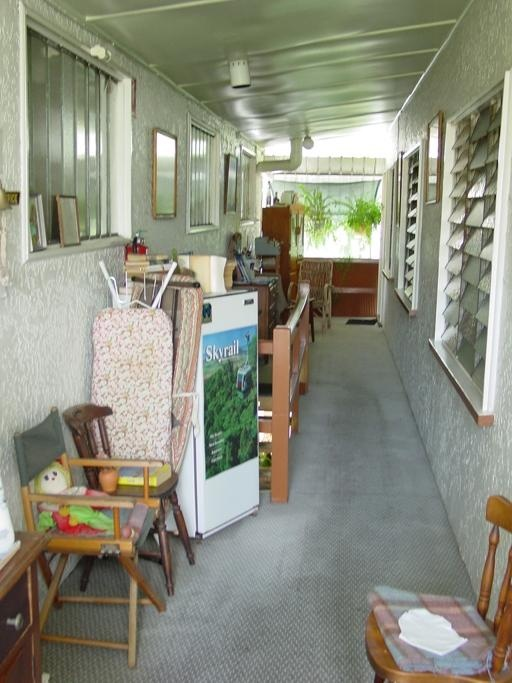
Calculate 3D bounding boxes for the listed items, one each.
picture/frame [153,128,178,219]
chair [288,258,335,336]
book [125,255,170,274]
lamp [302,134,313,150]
[{"bbox_3d":[-0.830,-1.446,4.264,0.021,0.709,0.630,-3,15,-36],"label":"picture/frame"},{"bbox_3d":[1.117,-0.965,10.094,0.661,1.794,0.944,1,0,6],"label":"chair"},{"bbox_3d":[-0.693,-0.518,3.314,0.186,0.159,0.506,1,4,9],"label":"book"},{"bbox_3d":[0.895,-3.553,8.722,0.178,0.329,0.506,0,4,4],"label":"lamp"}]
